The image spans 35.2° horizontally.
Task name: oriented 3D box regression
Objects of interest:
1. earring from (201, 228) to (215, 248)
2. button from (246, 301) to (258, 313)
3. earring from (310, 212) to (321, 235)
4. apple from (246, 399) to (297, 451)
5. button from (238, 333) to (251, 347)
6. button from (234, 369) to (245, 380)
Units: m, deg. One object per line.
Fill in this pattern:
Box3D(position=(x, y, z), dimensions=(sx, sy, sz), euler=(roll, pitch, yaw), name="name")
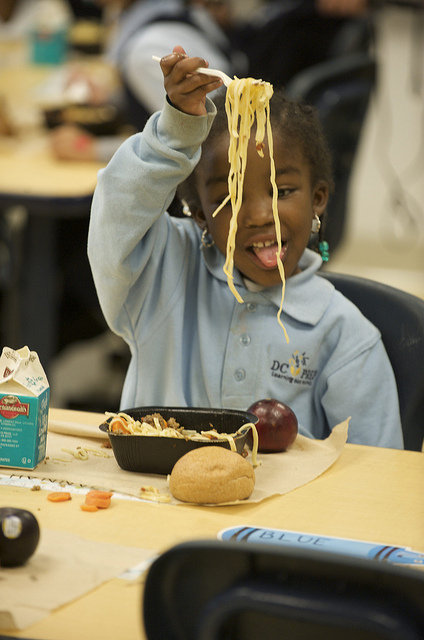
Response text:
Box3D(position=(-0.006, -0.150, 1.218), dimensions=(0.034, 0.030, 0.008), euler=(-11, 5, -14), name="earring")
Box3D(position=(0.069, -0.023, 1.174), dimensions=(0.017, 0.016, 0.015), euler=(24, 41, 38), name="button")
Box3D(position=(0.196, -0.182, 1.251), dimensions=(0.008, 0.030, 0.030), euler=(4, 60, 14), name="earring")
Box3D(position=(0.085, 0.143, 0.924), dimensions=(0.073, 0.063, 0.065), euler=(-4, -1, -8), name="apple")
Box3D(position=(0.056, 0.034, 1.157), dimensions=(0.022, 0.020, 0.005), euler=(2, -11, 6), name="button")
Box3D(position=(0.046, 0.093, 1.148), dimensions=(0.017, 0.013, 0.012), euler=(-2, 31, 1), name="button")
